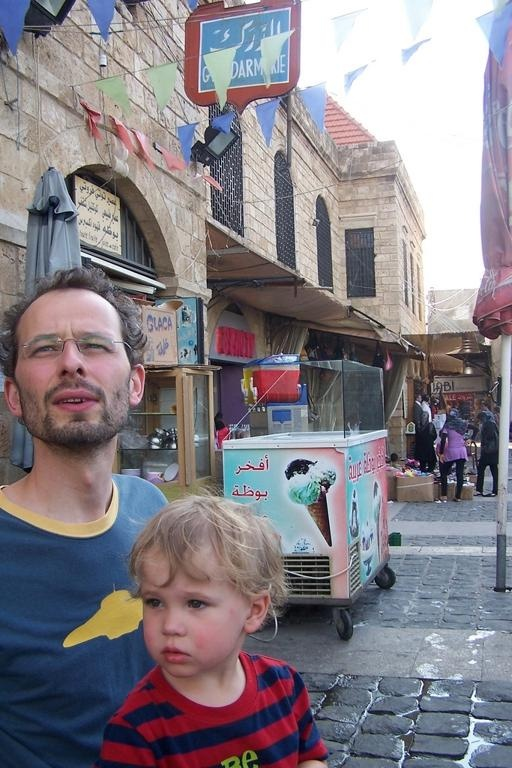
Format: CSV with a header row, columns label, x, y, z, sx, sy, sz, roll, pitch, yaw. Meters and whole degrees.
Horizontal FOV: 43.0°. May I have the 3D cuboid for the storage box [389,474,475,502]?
label,x,y,z,sx,sy,sz,roll,pitch,yaw
storage box,3.193,2.100,13.000,0.837,0.349,0.858,0,0,17

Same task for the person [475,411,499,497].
label,x,y,z,sx,sy,sz,roll,pitch,yaw
person,5.063,1.540,14.196,0.504,2.080,0.709,1,8,13

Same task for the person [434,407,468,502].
label,x,y,z,sx,sy,sz,roll,pitch,yaw
person,3.938,1.360,13.005,0.591,1.716,0.782,0,0,23

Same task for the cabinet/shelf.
label,x,y,z,sx,sy,sz,roll,pitch,yaw
cabinet/shelf,-0.995,0.543,7.790,0.991,1.736,1.180,2,6,5

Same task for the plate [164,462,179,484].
label,x,y,z,sx,sy,sz,roll,pitch,yaw
plate,-0.978,1.034,7.577,0.169,0.214,0.100,-12,-22,31
